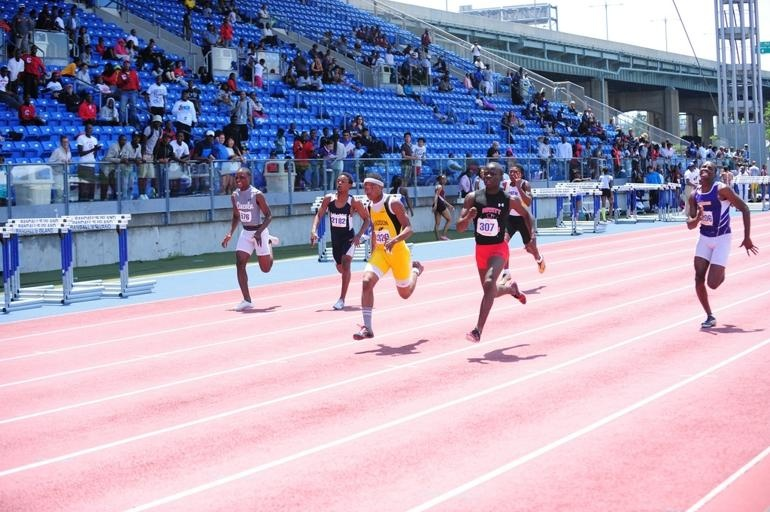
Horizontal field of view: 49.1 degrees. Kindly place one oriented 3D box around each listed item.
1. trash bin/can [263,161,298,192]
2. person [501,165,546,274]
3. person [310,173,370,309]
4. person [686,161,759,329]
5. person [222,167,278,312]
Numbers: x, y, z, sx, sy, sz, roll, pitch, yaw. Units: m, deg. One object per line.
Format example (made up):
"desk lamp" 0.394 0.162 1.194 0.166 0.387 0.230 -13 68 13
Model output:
"trash bin/can" -3.157 -2.466 25.748 1.034 0.907 0.648 5 20 43
"person" 2.986 -0.968 18.277 0.954 2.997 1.441 2 2 44
"person" -0.762 -0.503 15.308 1.546 3.040 0.875 -1 5 -2
"person" 5.288 -0.216 13.048 1.127 2.679 0.933 0 1 21
"person" -2.652 -0.335 16.042 0.935 2.591 1.314 1 2 37
